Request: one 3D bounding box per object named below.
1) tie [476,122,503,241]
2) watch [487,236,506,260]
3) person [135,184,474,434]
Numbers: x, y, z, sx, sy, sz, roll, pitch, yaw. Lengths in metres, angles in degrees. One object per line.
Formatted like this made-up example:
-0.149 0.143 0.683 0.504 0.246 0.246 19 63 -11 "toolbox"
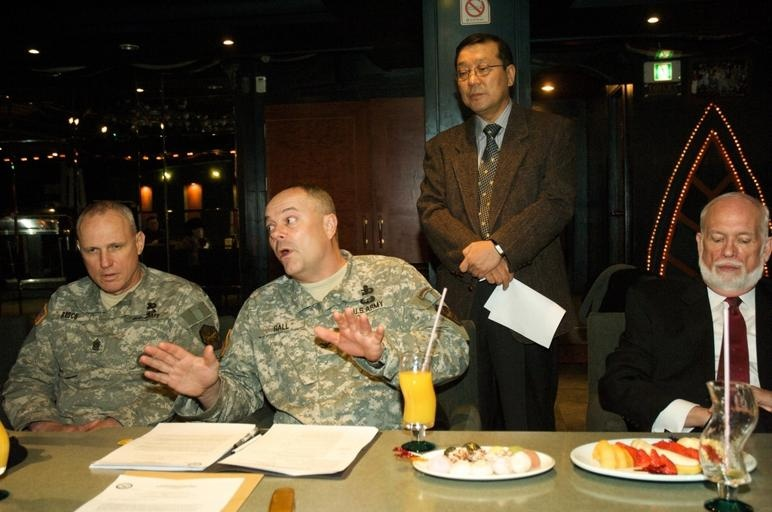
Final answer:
0.531 -0.389 3.373 0.111 0.610 0.087 3 -8 10 "tie"
0.544 -0.038 3.228 0.082 0.103 0.036 -2 5 33 "watch"
-0.380 0.224 2.756 1.167 1.053 0.581 -6 4 -22 "person"
